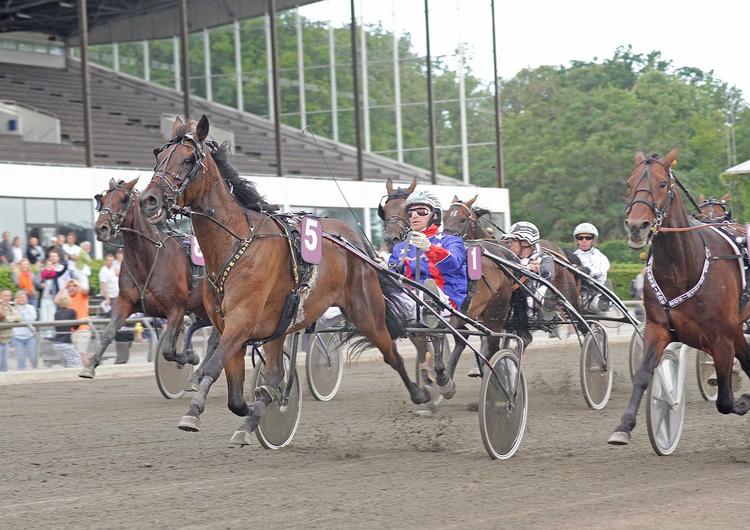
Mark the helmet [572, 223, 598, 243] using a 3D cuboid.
[{"bbox_3d":[2.848,-0.519,15.474,0.380,0.299,0.404,-2,-23,9],"label":"helmet"}]

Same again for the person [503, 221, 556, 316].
[{"bbox_3d":[1.787,0.085,13.369,0.333,1.204,0.707,-24,36,14],"label":"person"}]

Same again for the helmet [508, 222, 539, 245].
[{"bbox_3d":[1.784,-0.391,13.903,0.359,0.248,0.260,10,8,16],"label":"helmet"}]

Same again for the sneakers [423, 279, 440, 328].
[{"bbox_3d":[0.561,0.367,11.547,0.169,0.482,0.206,7,24,20],"label":"sneakers"}]

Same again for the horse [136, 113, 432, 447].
[{"bbox_3d":[-1.026,0.183,10.825,0.898,3.090,2.467,1,3,41],"label":"horse"}]
